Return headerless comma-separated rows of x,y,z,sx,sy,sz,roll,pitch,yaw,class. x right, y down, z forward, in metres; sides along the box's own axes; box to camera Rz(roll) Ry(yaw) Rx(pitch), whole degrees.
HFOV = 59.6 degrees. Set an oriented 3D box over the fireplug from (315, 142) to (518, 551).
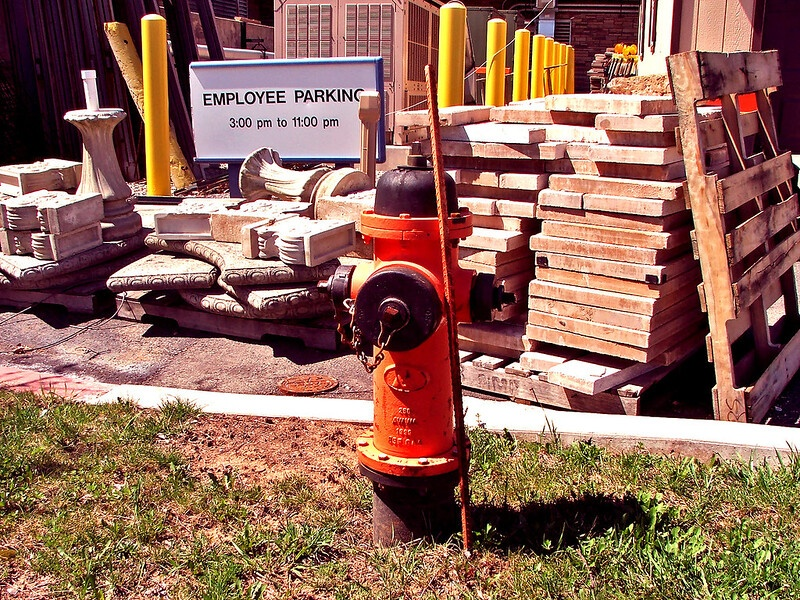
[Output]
0.061,0.307,3.443,0.847,1.983,0.450,2,12,7,fireplug
